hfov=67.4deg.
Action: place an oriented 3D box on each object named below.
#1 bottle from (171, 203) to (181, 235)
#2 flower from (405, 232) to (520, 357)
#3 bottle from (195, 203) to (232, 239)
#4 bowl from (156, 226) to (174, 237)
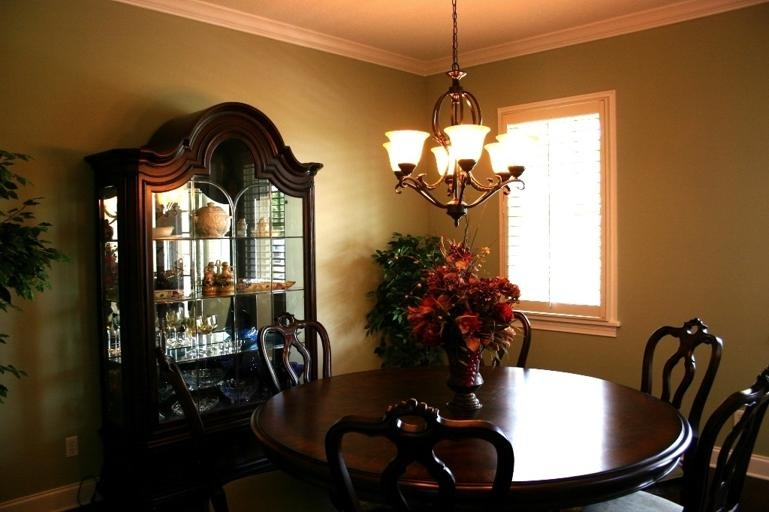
[{"bbox_3d":[-1.480,-0.258,4.087,0.027,0.210,0.079,9,15,34],"label":"bottle"},{"bbox_3d":[0.483,0.251,3.357,0.733,0.728,0.608,1,-4,34],"label":"flower"},{"bbox_3d":[-1.285,-0.271,4.285,0.227,0.261,0.333,-4,7,-24],"label":"bottle"},{"bbox_3d":[-1.546,-0.167,4.030,0.017,0.074,0.130,11,16,39],"label":"bowl"}]
